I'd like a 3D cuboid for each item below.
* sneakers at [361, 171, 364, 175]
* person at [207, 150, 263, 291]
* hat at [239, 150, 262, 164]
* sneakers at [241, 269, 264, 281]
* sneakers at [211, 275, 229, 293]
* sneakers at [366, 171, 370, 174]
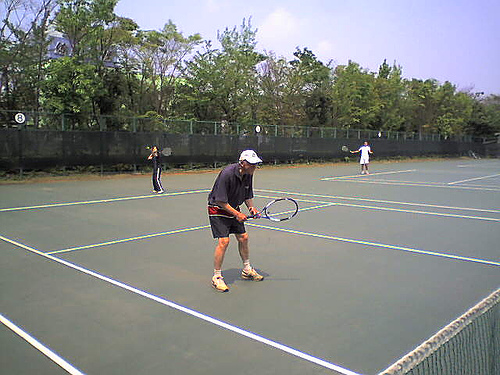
[{"bbox_3d":[7.484,-0.972,27.721,0.198,0.245,0.210,7,-11,2],"label":"sneakers"},{"bbox_3d":[-0.237,0.454,6.577,0.847,2.107,1.064,0,7,-5],"label":"person"},{"bbox_3d":[-0.007,-0.451,6.087,0.270,0.152,0.189,10,15,42],"label":"hat"},{"bbox_3d":[0.028,1.422,6.741,0.356,0.161,0.150,0,0,27],"label":"sneakers"},{"bbox_3d":[-0.463,1.472,6.246,0.126,0.267,0.350,3,-5,-39],"label":"sneakers"},{"bbox_3d":[7.933,-1.005,28.212,0.081,0.243,0.229,-18,23,4],"label":"sneakers"}]
